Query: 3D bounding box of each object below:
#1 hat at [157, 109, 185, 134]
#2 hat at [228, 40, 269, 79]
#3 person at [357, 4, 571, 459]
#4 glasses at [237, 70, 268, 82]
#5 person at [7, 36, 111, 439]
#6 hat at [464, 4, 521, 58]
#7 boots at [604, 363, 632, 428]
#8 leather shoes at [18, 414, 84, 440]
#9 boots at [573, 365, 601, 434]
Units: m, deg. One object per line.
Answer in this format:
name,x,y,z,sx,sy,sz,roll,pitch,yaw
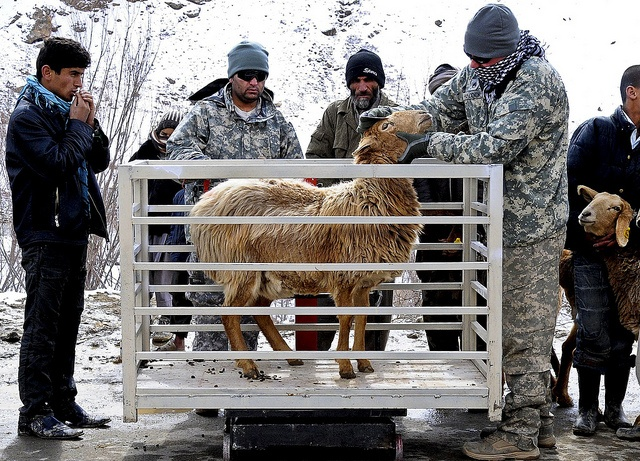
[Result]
hat,-1.767,-1.277,12.387,0.261,0.264,0.352,14,-10,8
hat,-0.734,-1.720,10.716,0.470,0.355,0.478,-6,-5,4
person,1.663,0.039,9.554,1.234,4.094,0.893,2,-6,1
glasses,-0.681,-1.543,10.530,0.337,0.128,0.095,5,-6,-29
person,-2.567,0.072,9.961,0.924,3.786,0.591,6,-7,-34
hat,1.538,-1.763,9.444,0.498,0.446,0.383,-14,-48,4
boots,2.973,1.660,10.323,0.220,0.623,0.330,4,-6,-17
leather shoes,-2.584,1.839,9.923,0.668,0.264,0.227,3,0,1
boots,2.623,1.676,10.246,0.245,0.646,0.259,0,-6,16
